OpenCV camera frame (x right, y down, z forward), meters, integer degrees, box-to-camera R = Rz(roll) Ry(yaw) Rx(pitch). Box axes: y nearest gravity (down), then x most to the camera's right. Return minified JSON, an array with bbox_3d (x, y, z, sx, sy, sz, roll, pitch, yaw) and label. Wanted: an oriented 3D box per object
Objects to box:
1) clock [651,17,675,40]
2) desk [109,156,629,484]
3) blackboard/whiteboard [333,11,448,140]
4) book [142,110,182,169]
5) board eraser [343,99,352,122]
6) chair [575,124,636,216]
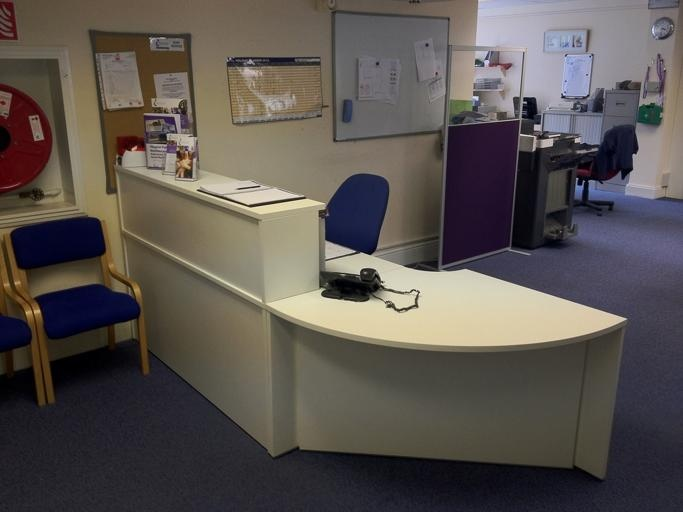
[{"bbox_3d":[4.512,-3.214,7.025,0.047,0.379,0.345,-1,1,-31],"label":"clock"},{"bbox_3d":[-0.025,0.358,2.873,2.956,1.379,0.933,11,21,29],"label":"desk"},{"bbox_3d":[0.424,-1.706,4.627,1.097,1.033,0.044,-13,23,-32],"label":"blackboard/whiteboard"},{"bbox_3d":[-1.192,-0.794,3.384,0.348,0.519,0.055,8,14,20],"label":"book"},{"bbox_3d":[0.053,-1.304,4.445,0.076,0.209,0.123,3,21,5],"label":"board eraser"},{"bbox_3d":[3.550,-1.239,7.066,0.800,1.203,0.896,-16,18,-33],"label":"chair"}]
